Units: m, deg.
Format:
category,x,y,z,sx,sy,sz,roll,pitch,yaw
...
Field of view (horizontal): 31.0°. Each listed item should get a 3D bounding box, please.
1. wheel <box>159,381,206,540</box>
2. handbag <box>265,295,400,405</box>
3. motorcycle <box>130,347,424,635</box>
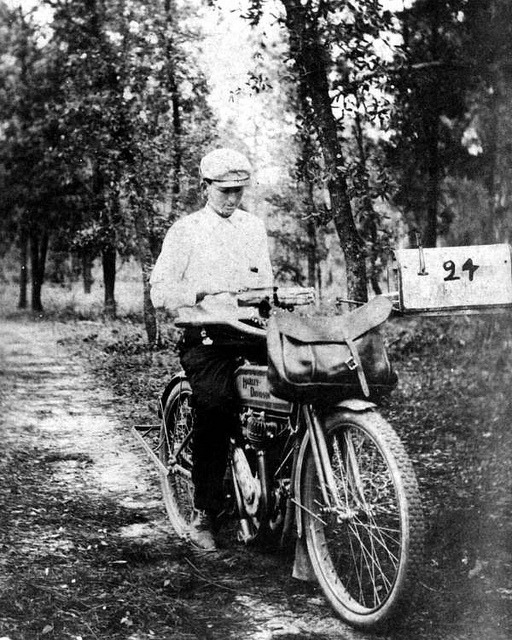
category,x,y,z,sx,sy,sz,roll,pitch,yaw
wheel,-0.374,0.746,4.907,0.179,0.786,0.722,0,7,-21
handbag,0.325,0.139,3.876,0.545,0.475,0.296,-2,-13,-14
motorcycle,0.134,0.767,4.315,0.766,1.078,1.876,3,-3,-28
